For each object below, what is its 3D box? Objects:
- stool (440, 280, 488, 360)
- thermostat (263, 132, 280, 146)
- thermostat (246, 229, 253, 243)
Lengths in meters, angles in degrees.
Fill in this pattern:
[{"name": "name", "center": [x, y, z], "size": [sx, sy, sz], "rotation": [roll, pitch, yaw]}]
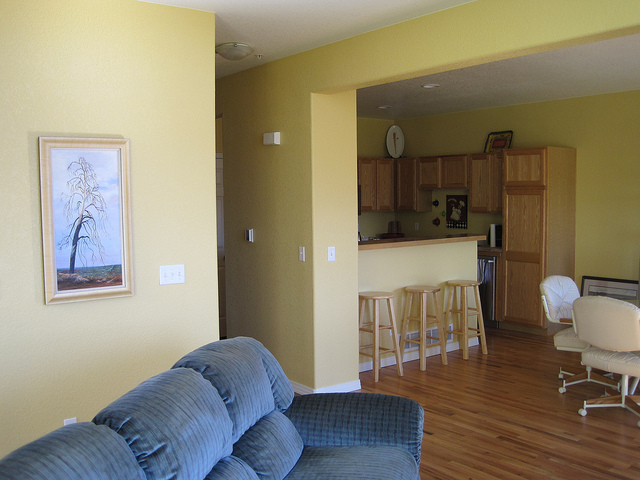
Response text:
[{"name": "stool", "center": [1.793, 0.948, 6.053], "size": [0.561, 0.874, 0.564], "rotation": [0, 0, 6]}, {"name": "thermostat", "center": [-0.497, -1.036, 4.968], "size": [0.084, 0.123, 0.219], "rotation": [-5, 7, -36]}, {"name": "thermostat", "center": [-0.770, -0.053, 5.310], "size": [0.017, 0.140, 0.109], "rotation": [-7, 9, -44]}]
